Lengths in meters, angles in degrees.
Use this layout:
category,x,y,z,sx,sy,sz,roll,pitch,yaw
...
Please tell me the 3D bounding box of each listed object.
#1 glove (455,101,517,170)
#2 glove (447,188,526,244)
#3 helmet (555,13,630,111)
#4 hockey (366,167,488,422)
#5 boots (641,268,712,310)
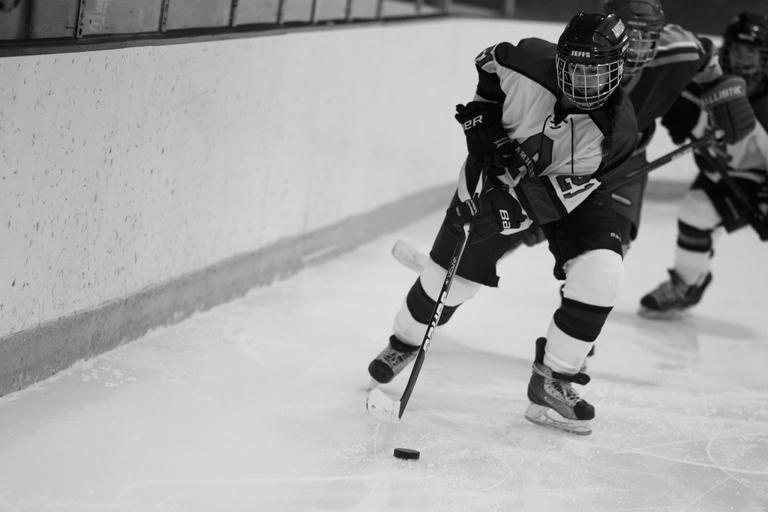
category,x,y,z,sx,sy,sz,roll,pitch,yaw
glove,0.444,-0.503,3.079,0.203,0.317,0.107,-20,8,32
glove,0.406,-0.158,2.903,0.241,0.231,0.104,-11,-24,13
helmet,0.807,-0.759,2.877,0.275,0.365,0.340,12,-33,20
hockey,0.217,0.163,3.041,0.364,1.214,0.056,14,-20,21
boots,1.682,0.227,4.232,0.407,0.183,0.187,-14,-44,9
